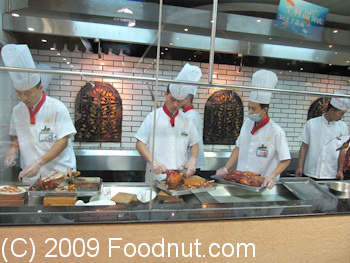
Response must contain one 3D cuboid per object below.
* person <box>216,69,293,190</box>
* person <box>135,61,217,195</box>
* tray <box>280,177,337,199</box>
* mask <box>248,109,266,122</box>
[{"bbox_3d":[0.516,-0.040,1.926,0.393,0.846,0.528,-14,24,-32],"label":"person"},{"bbox_3d":[0.050,-0.035,1.872,0.551,0.815,0.390,-4,14,-44],"label":"person"},{"bbox_3d":[0.899,0.393,2.001,0.154,0.033,0.235,2,18,-11],"label":"tray"},{"bbox_3d":[0.531,-0.098,1.950,0.090,0.066,0.046,6,10,5],"label":"mask"}]
